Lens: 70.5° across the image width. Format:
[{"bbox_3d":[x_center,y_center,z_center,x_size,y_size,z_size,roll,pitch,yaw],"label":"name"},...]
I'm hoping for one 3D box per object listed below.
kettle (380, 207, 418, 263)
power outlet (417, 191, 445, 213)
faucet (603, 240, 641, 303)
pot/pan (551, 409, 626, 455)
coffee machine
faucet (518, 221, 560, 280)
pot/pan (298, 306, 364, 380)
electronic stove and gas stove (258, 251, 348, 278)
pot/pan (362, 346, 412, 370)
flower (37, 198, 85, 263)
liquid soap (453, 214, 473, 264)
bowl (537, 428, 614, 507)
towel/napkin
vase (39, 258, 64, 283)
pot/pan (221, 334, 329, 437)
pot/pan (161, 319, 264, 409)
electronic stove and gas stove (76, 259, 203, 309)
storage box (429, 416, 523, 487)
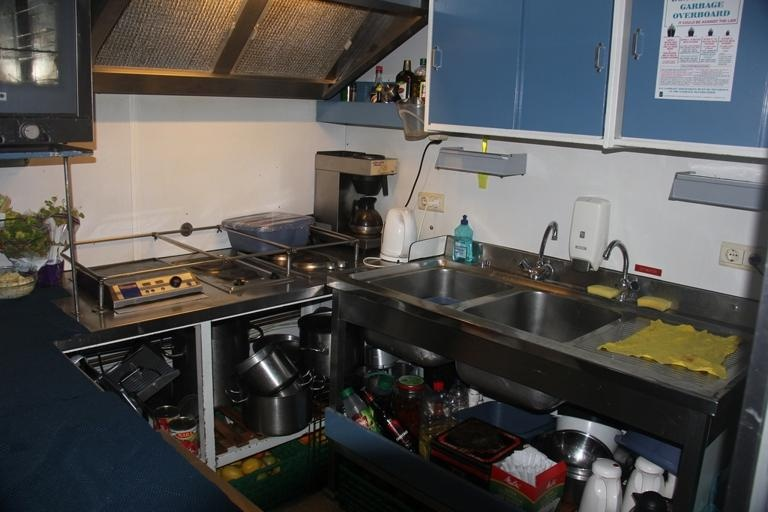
[{"bbox_3d":[0.074,-0.099,2.893,0.204,0.264,0.270,5,11,-2],"label":"kettle"},{"bbox_3d":[0.274,-0.312,3.095,0.120,0.078,0.039,11,17,36],"label":"power outlet"},{"bbox_3d":[1.073,0.062,2.443,0.135,0.258,0.160,-13,20,-42],"label":"faucet"},{"bbox_3d":[0.853,0.708,2.238,0.214,0.195,0.157,1,15,13],"label":"pot/pan"},{"bbox_3d":[-0.187,-0.347,3.266,0.318,0.538,0.527,-13,20,-42],"label":"coffee machine"},{"bbox_3d":[0.780,-0.033,2.665,0.154,0.285,0.208,-2,15,-12],"label":"faucet"},{"bbox_3d":[-0.279,0.443,2.913,0.365,0.336,0.388,-1,13,-8],"label":"pot/pan"},{"bbox_3d":[-0.401,0.010,2.865,0.406,0.101,0.408,-7,16,-27],"label":"electronic stove and gas stove"},{"bbox_3d":[-0.006,0.516,2.787,0.195,0.091,0.118,-4,8,-45],"label":"pot/pan"},{"bbox_3d":[-1.464,-0.126,2.447,0.216,0.316,0.211,-10,24,-40],"label":"flower"},{"bbox_3d":[0.428,-0.100,2.930,0.114,0.239,0.137,3,15,7],"label":"liquid soap"},{"bbox_3d":[0.769,0.799,2.284,0.271,0.281,0.270,1,23,0],"label":"bowl"},{"bbox_3d":[1.080,0.327,2.045,0.421,0.041,0.426,11,17,33],"label":"towel/napkin"},{"bbox_3d":[-1.540,0.062,2.509,0.066,0.119,0.090,42,30,28],"label":"vase"},{"bbox_3d":[-0.546,0.656,2.764,0.454,0.397,0.475,1,10,-4],"label":"pot/pan"},{"bbox_3d":[-0.831,0.519,2.584,0.269,0.375,0.438,15,19,38],"label":"pot/pan"},{"bbox_3d":[-1.154,0.107,2.477,0.324,0.082,0.300,16,20,41],"label":"electronic stove and gas stove"},{"bbox_3d":[0.370,0.800,2.266,0.230,0.082,0.234,12,21,36],"label":"storage box"}]
